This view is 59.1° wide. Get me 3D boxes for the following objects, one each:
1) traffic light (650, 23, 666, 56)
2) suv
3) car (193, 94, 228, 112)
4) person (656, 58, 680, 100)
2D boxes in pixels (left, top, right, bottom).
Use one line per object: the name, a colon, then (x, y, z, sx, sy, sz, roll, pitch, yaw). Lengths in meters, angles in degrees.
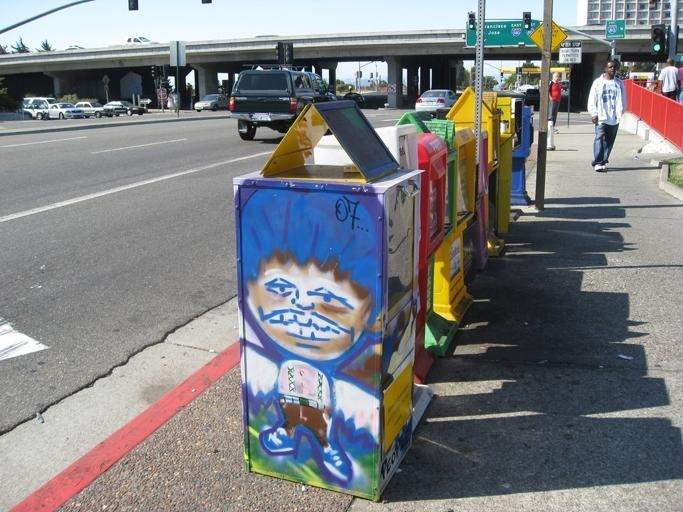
traffic light: (10.187, -6.916, 19.361, 0.714, 0.885, 0.347, -10, 16, -29)
suv: (-2.367, -5.571, 22.292, 2.734, 2.519, 2.752, 2, 16, 11)
car: (-12.381, -14.905, 59.605, 1.530, 1.331, 3.578, 5, 17, 21)
person: (11.471, -6.133, 21.019, 0.681, 1.460, 3.688, 6, 19, 27)
